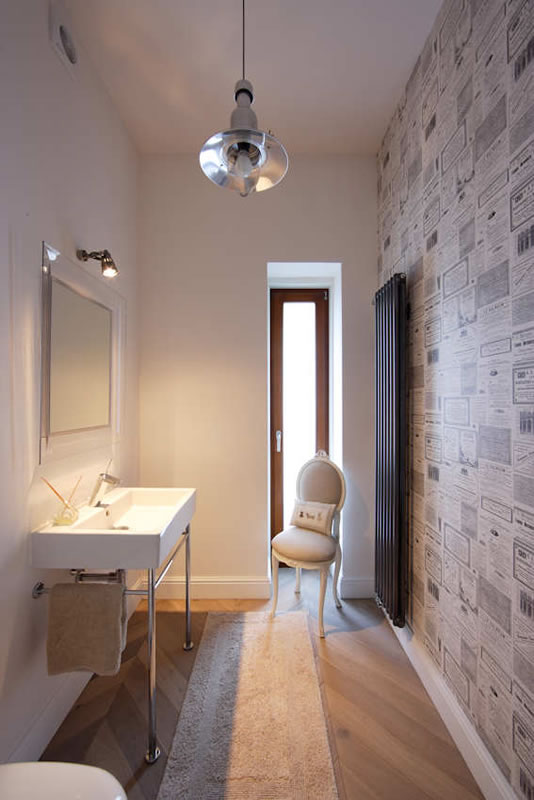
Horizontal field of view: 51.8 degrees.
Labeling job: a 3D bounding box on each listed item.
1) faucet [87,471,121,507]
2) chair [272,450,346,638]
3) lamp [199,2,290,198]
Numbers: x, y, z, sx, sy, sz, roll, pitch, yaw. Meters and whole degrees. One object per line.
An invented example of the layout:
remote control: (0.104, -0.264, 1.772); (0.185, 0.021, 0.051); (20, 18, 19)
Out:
faucet: (-0.680, 0.372, 2.318); (0.090, 0.226, 0.104); (5, 0, -7)
chair: (0.209, 0.714, 2.879); (0.369, 0.789, 0.683); (1, 4, 11)
lamp: (-0.077, -1.059, 1.875); (0.258, 0.832, 0.693); (0, 4, -1)
